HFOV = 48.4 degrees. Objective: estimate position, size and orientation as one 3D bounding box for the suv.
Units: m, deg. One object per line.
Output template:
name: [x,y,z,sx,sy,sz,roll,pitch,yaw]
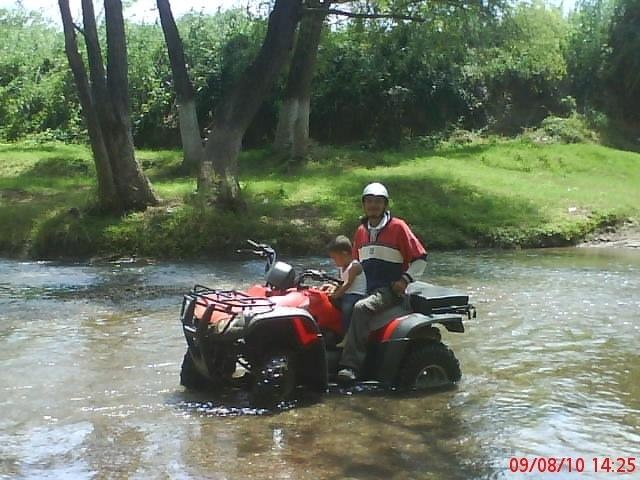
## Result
suv: [0.172,1.080,8.782,3.323,2.004,1.792,0,-2,-26]
